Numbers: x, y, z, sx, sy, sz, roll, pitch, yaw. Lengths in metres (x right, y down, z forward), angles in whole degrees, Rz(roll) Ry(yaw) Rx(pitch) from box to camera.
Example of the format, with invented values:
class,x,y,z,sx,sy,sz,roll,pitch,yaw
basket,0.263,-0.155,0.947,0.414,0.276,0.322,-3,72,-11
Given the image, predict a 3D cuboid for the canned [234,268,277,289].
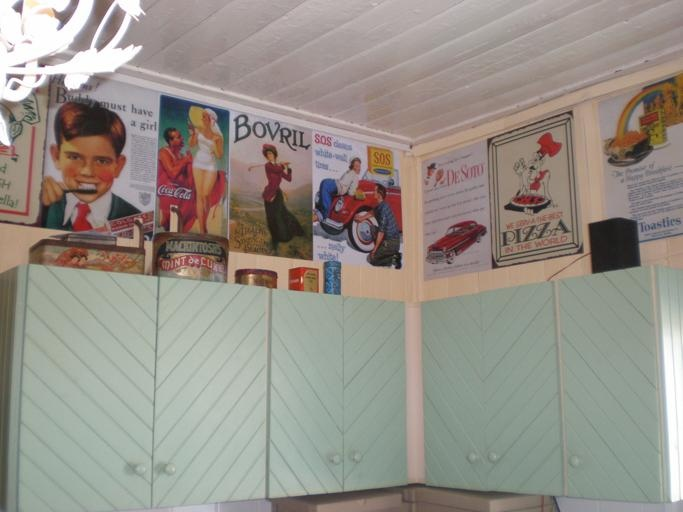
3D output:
class,x,y,z,sx,sy,sz,roll,pitch,yaw
canned,-0.366,0.096,3.579,0.107,0.068,0.110,0,-7,3
